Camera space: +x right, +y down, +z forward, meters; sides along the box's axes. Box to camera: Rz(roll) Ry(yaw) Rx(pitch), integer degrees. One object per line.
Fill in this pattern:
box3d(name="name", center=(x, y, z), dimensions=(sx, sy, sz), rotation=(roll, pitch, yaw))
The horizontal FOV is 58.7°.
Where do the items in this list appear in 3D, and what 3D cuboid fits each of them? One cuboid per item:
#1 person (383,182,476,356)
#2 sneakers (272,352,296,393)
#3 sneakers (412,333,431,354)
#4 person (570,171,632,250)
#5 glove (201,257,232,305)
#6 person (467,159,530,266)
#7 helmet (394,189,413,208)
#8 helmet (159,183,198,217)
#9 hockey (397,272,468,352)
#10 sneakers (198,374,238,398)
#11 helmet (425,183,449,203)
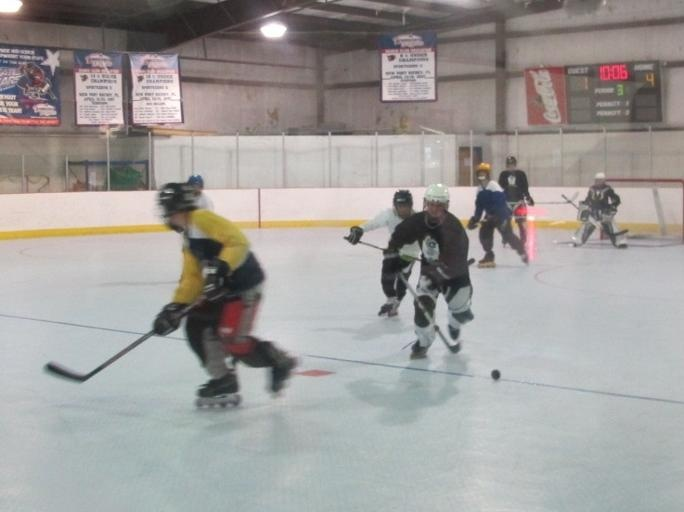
box3d(name="person", center=(0.646, 0.086, 4.315), dimensions=(0.533, 1.177, 0.623), rotation=(-2, 8, 4))
box3d(name="sneakers", center=(-0.325, 0.636, 3.348), dimensions=(0.134, 0.205, 0.085), rotation=(21, 7, 5))
box3d(name="sneakers", center=(0.545, 0.588, 4.146), dimensions=(0.143, 0.165, 0.096), rotation=(-5, 8, -16))
box3d(name="person", center=(4.582, -0.810, 10.818), dimensions=(0.880, 1.288, 0.578), rotation=(0, 9, 21))
box3d(name="glove", center=(-0.611, 0.114, 3.142), dimensions=(0.163, 0.207, 0.217), rotation=(1, -3, -9))
box3d(name="person", center=(2.161, -0.569, 8.604), dimensions=(0.640, 1.449, 0.869), rotation=(5, 11, 43))
box3d(name="helmet", center=(0.518, -0.488, 5.187), dimensions=(0.136, 0.145, 0.153), rotation=(-1, -6, 4))
box3d(name="helmet", center=(-0.832, -0.290, 3.161), dimensions=(0.191, 0.178, 0.150), rotation=(-13, 16, -10))
box3d(name="hockey", center=(0.668, 0.421, 4.476), dimensions=(0.096, 0.652, 0.116), rotation=(-19, -23, -52))
box3d(name="sneakers", center=(-0.656, 0.695, 3.227), dimensions=(0.209, 0.087, 0.103), rotation=(-5, 2, -7))
box3d(name="helmet", center=(0.629, -0.422, 4.065), dimensions=(0.133, 0.130, 0.154), rotation=(1, -4, 6))
